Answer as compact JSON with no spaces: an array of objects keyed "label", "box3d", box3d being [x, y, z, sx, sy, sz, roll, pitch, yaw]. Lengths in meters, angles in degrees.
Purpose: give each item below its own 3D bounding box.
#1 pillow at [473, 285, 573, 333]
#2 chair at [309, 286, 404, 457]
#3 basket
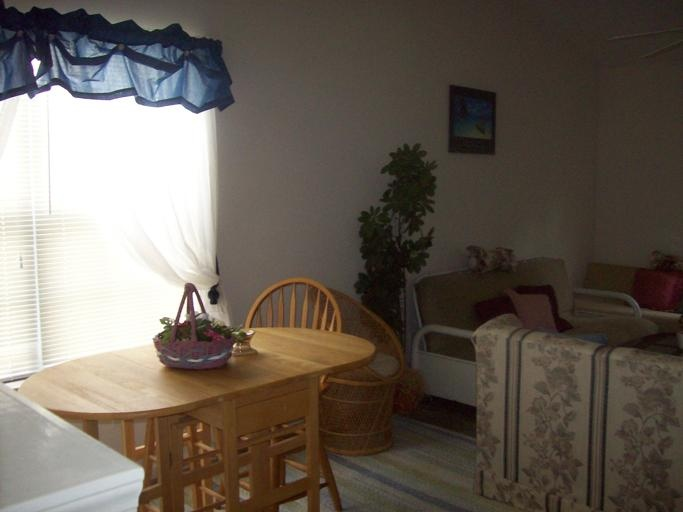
[{"label":"pillow","box3d":[1.384,0.376,4.233,0.687,0.427,0.200,-2,-20,-34]},{"label":"chair","box3d":[0.101,0.752,3.468,0.564,0.878,0.613,6,9,40]},{"label":"basket","box3d":[-0.611,0.266,2.172,0.288,0.301,0.300,12,9,30]}]
